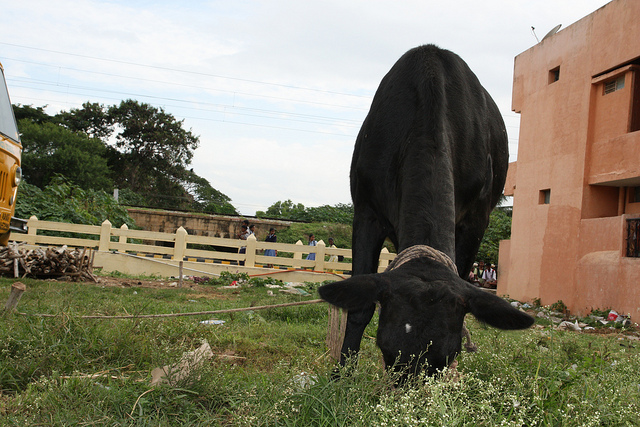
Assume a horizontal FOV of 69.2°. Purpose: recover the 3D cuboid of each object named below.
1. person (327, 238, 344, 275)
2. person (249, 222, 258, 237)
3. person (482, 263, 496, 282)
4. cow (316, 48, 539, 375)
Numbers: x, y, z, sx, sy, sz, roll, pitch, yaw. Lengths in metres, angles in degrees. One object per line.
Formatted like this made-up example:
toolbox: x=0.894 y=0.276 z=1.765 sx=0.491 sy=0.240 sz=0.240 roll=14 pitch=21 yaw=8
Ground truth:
person: x=0.560 y=1.595 z=17.298 sx=0.367 sy=0.307 sz=1.118 roll=9 pitch=31 yaw=-8
person: x=-3.908 y=0.916 z=27.490 sx=0.547 sy=0.810 sz=1.040 roll=8 pitch=-7 yaw=-9
person: x=7.156 y=2.456 z=19.304 sx=0.666 sy=0.888 sz=0.618 roll=-4 pitch=-14 yaw=23
cow: x=1.158 y=-0.305 z=5.028 sx=1.605 sy=3.588 sz=2.326 roll=5 pitch=-7 yaw=13
